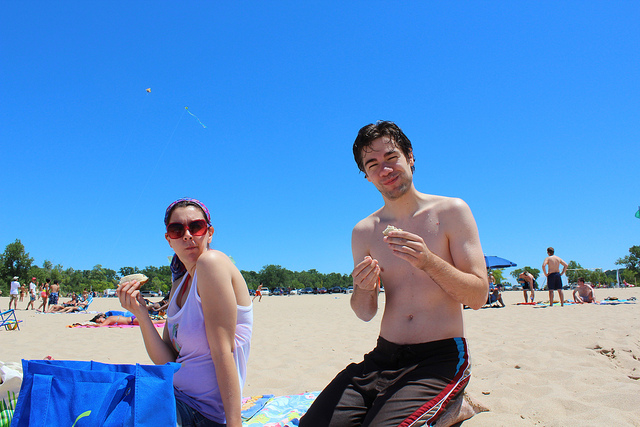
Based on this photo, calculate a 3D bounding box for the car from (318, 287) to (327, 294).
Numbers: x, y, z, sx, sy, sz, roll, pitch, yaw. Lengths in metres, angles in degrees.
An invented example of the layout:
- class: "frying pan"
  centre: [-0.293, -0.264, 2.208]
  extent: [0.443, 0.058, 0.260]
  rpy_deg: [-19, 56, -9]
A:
- class: "car"
  centre: [0.233, 12.166, 67.105]
  extent: [1.429, 0.755, 7.338]
  rpy_deg: [-4, -11, -1]

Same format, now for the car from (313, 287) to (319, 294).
- class: "car"
  centre: [-0.934, 12.495, 68.397]
  extent: [1.419, 0.714, 1.984]
  rpy_deg: [-5, -5, 1]

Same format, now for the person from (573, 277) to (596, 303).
- class: "person"
  centre: [9.220, 2.632, 14.806]
  extent: [0.611, 0.788, 1.846]
  rpy_deg: [-10, -12, 30]

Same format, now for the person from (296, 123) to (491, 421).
- class: "person"
  centre: [0.799, 0.473, 4.085]
  extent: [1.460, 2.884, 0.785]
  rpy_deg: [-8, -11, 22]

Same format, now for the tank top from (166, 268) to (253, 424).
- class: "tank top"
  centre: [-0.998, 1.136, 3.693]
  extent: [0.777, 1.340, 0.576]
  rpy_deg: [-2, -11, -9]

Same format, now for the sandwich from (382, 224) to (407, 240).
- class: "sandwich"
  centre: [0.651, 0.159, 3.896]
  extent: [0.135, 0.140, 0.051]
  rpy_deg: [17, -10, 0]

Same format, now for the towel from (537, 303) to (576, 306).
- class: "towel"
  centre: [7.518, 2.835, 13.357]
  extent: [0.766, 0.081, 0.234]
  rpy_deg: [-8, -14, 23]

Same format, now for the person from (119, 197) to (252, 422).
- class: "person"
  centre: [-1.097, 0.819, 3.746]
  extent: [1.071, 1.980, 0.751]
  rpy_deg: [-13, -14, 41]

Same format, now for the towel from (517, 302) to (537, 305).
- class: "towel"
  centre: [7.240, 3.086, 14.654]
  extent: [0.511, 0.032, 1.399]
  rpy_deg: [-8, -11, 19]

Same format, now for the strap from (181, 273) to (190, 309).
- class: "strap"
  centre: [-1.241, 0.697, 3.849]
  extent: [0.028, 0.292, 0.032]
  rpy_deg: [8, -23, 28]
